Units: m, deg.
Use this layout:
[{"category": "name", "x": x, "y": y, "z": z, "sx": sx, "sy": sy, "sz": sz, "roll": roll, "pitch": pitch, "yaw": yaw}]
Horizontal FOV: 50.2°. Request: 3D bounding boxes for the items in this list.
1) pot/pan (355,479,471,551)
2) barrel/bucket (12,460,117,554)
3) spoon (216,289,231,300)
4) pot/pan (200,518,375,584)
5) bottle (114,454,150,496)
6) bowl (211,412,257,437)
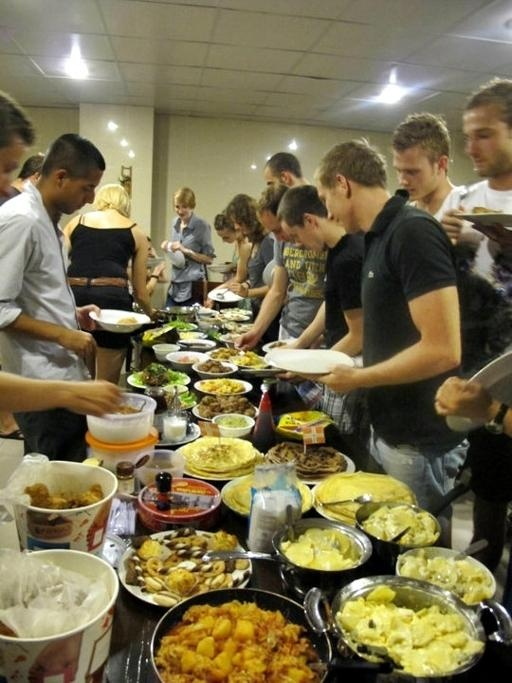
[{"category": "pot/pan", "x": 0.349, "y": 0.383, "z": 1.186, "sx": 0.254, "sy": 0.095, "sz": 0.131, "roll": 1, "pitch": 5, "yaw": -39}, {"category": "barrel/bucket", "x": -0.347, "y": 0.312, "z": 1.043, "sx": 0.177, "sy": 0.123, "sz": 0.172, "roll": 5, "pitch": 23, "yaw": -2}, {"category": "spoon", "x": -0.274, "y": -0.382, "z": 4.512, "sx": 0.106, "sy": 0.020, "sz": 0.098, "roll": -1, "pitch": 36, "yaw": -4}, {"category": "pot/pan", "x": 0.107, "y": 0.406, "z": 1.054, "sx": 0.233, "sy": 0.061, "sz": 0.122, "roll": -5, "pitch": 15, "yaw": -11}, {"category": "bottle", "x": -0.303, "y": 0.328, "z": 1.358, "sx": 0.105, "sy": 0.095, "sz": 0.059, "roll": -1, "pitch": 4, "yaw": -27}, {"category": "bowl", "x": -0.068, "y": 0.280, "z": 1.832, "sx": 0.086, "sy": 0.031, "sz": 0.087, "roll": 1, "pitch": 7, "yaw": 0}]
